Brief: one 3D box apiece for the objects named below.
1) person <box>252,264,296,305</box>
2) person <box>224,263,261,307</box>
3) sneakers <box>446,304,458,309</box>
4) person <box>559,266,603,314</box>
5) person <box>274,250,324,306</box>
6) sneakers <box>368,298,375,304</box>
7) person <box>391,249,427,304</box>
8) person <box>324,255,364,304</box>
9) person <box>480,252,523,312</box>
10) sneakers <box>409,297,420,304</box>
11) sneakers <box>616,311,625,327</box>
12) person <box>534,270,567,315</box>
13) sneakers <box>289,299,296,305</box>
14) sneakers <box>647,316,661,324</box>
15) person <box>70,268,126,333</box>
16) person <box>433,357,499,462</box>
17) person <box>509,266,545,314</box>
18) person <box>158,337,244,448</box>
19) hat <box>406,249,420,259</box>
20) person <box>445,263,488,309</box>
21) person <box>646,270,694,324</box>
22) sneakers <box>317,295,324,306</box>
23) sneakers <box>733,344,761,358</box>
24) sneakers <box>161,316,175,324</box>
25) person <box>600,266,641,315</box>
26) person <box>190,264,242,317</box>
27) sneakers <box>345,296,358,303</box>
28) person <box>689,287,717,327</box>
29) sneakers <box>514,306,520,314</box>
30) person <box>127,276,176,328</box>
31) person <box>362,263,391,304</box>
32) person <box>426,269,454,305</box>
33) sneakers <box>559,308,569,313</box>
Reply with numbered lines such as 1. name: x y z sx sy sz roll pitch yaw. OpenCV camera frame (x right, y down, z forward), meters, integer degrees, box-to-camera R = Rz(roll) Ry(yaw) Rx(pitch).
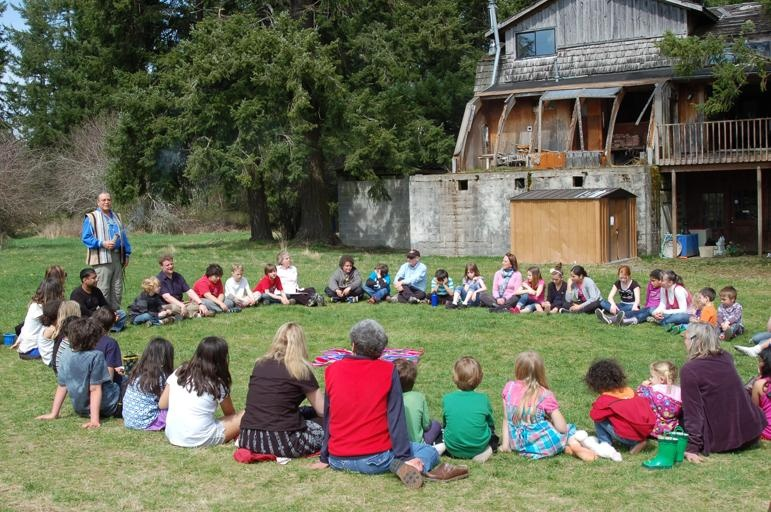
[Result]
1. person: -3.318 0.809 27.334 0.862 1.166 1.228 -8 15 -40
2. person: -4.069 0.868 26.776 0.964 1.257 1.052 2 13 6
3. sneakers: 1.851 1.412 26.793 0.405 0.124 0.133 1 1 42
4. person: 5.264 0.927 25.901 0.991 1.299 1.020 -7 8 10
5. person: -2.482 0.680 27.363 0.826 1.421 1.849 -7 10 -43
6. sneakers: -0.423 1.295 27.707 0.197 0.145 0.225 0 1 -2
7. person: 0.673 0.631 27.654 0.900 1.625 1.535 1 -2 7
8. person: -1.214 0.679 28.028 1.007 1.371 1.300 0 11 1
9. person: 3.208 0.721 26.373 0.945 1.559 1.261 5 6 29
10. sneakers: 0.827 1.264 27.433 0.304 0.193 0.091 0 1 0
11. sneakers: 6.025 1.601 24.594 0.133 0.418 0.169 4 -15 40
12. person: 4.550 0.953 25.912 0.611 1.122 1.072 8 18 33
13. sneakers: -2.676 1.294 27.247 0.140 0.147 0.112 -7 -8 43
14. sneakers: 6.924 1.626 24.590 0.286 0.109 0.207 -1 2 1
15. person: -7.106 1.110 23.566 1.264 1.669 1.151 -5 10 -22
16. person: 1.690 3.084 19.389 1.082 2.097 0.365 0 1 4
17. person: 3.855 0.914 26.156 1.164 1.260 0.700 -8 10 -44
18. person: -3.771 2.777 19.539 1.426 2.244 0.440 0 1 -11
19. hat: 0.827 -0.051 27.688 0.317 0.189 0.222 18 -10 -42
20. person: 2.314 0.840 26.918 0.860 1.355 1.287 2 4 34
21. person: 7.355 1.086 24.686 1.057 1.636 1.362 0 1 4
22. sneakers: -1.904 1.265 27.293 0.177 0.267 0.058 1 -7 -32
23. sneakers: 8.441 2.141 22.382 0.613 0.311 0.217 25 3 43
24. sneakers: -5.744 1.692 25.187 0.431 0.207 0.123 0 1 -44
25. person: 6.211 0.945 25.125 0.963 1.352 1.299 3 7 19
26. person: -4.728 0.938 26.351 1.292 1.387 1.012 9 12 29
27. sneakers: -1.002 1.266 27.809 0.336 0.161 0.150 2 -11 45
28. person: 7.686 1.256 23.117 0.779 0.765 0.465 -6 9 -44
29. sneakers: 3.549 1.450 25.954 0.163 0.158 0.105 1 1 7
30. person: -6.177 1.183 25.322 1.209 1.261 1.347 6 3 7
31. person: -0.270 0.772 28.038 0.649 1.160 1.144 8 9 6
32. person: 1.543 0.931 27.195 0.748 1.058 1.039 -5 11 -12
33. sneakers: 4.803 1.468 25.721 0.253 0.113 0.094 -1 4 -23
